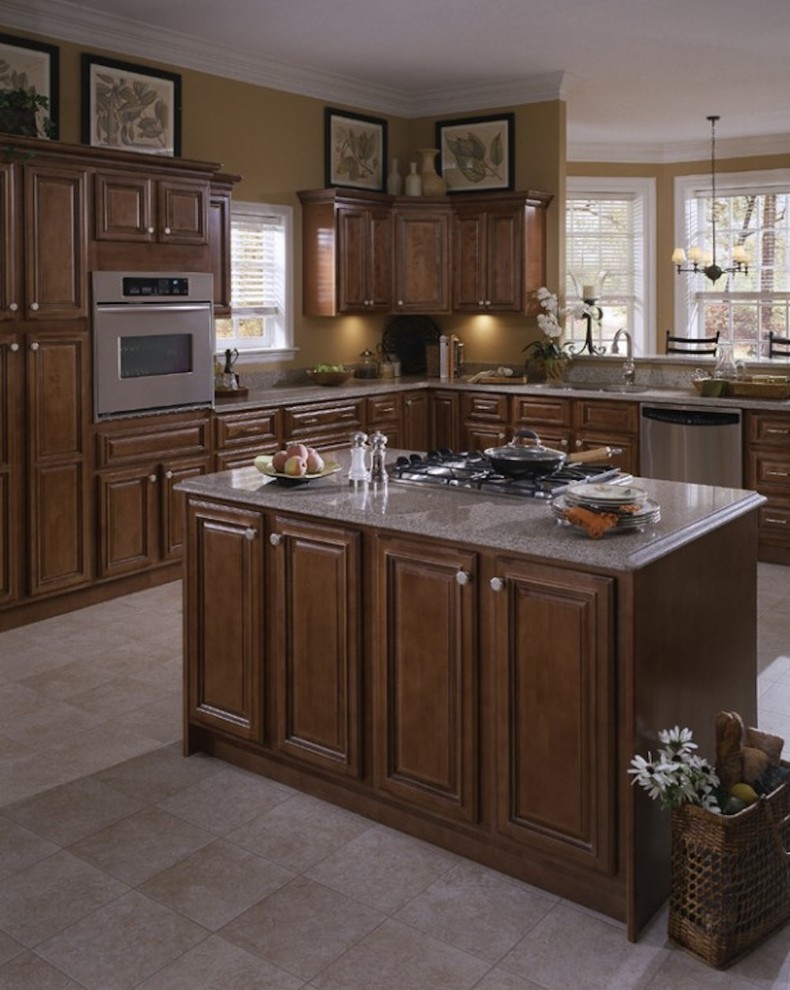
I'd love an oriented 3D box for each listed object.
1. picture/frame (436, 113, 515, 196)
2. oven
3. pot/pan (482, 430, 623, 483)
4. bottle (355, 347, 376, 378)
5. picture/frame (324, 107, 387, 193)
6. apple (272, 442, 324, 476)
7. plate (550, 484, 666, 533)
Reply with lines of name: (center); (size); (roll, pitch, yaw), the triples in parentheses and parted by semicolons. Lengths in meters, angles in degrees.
picture/frame: (0.627, -2.581, 6.258); (0.803, 0.657, 0.056); (6, 13, 37)
oven: (-1.163, -0.790, 4.525); (0.802, 0.742, 0.531); (1, 0, 19)
pot/pan: (0.667, -0.162, 3.258); (0.288, 0.186, 0.587); (-9, 13, -39)
bottle: (-0.208, -1.019, 6.360); (0.209, 0.274, 0.213); (0, 0, 0)
picture/frame: (-0.291, -2.576, 6.228); (0.039, 0.531, 0.623); (13, 18, 37)
apple: (-0.293, -0.109, 2.455); (0.098, 0.067, 0.131); (4, 4, -4)
plate: (0.468, 0.033, 1.851); (0.227, 0.084, 0.333); (0, 6, 23)
